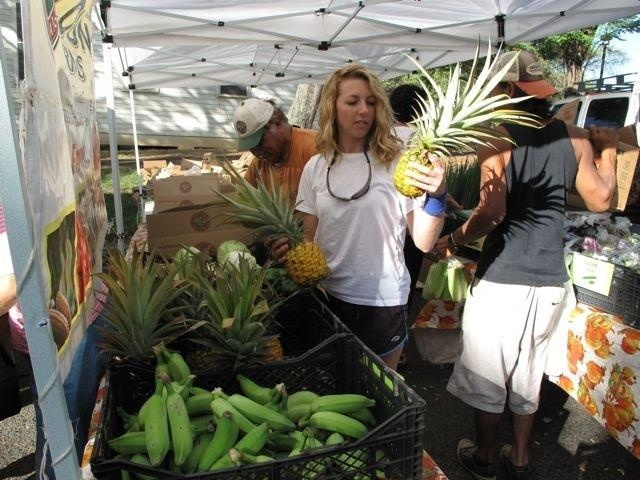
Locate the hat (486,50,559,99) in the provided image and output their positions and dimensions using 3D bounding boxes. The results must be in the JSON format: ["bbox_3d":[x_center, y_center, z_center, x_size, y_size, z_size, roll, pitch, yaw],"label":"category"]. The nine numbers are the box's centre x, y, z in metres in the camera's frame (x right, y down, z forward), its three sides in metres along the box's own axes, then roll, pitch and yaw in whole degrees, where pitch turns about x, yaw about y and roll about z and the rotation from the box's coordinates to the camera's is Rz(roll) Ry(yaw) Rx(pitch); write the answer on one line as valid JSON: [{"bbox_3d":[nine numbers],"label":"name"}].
[{"bbox_3d":[1.345,-1.139,2.718,0.415,0.296,0.585,-13,31,-44],"label":"hat"}]

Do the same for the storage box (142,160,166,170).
[{"bbox_3d":[-3.877,-1.722,9.217,0.423,0.258,0.405,-4,5,-44],"label":"storage box"}]

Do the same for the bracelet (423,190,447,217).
[{"bbox_3d":[0.585,-0.189,2.028,0.109,0.115,0.110,10,-16,22],"label":"bracelet"}]

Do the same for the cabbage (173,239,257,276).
[{"bbox_3d":[-0.505,0.064,1.959,0.440,0.137,0.358,-2,14,-25],"label":"cabbage"}]

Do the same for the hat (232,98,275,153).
[{"bbox_3d":[-0.539,-0.952,3.412,0.330,0.446,0.263,9,-20,45],"label":"hat"}]

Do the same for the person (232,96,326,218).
[{"bbox_3d":[-0.377,-0.665,3.457,0.639,1.019,0.752,-5,17,-22],"label":"person"}]
